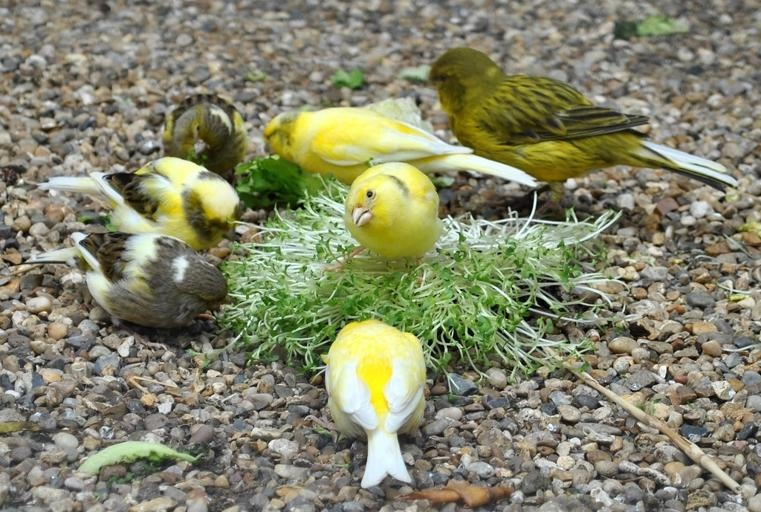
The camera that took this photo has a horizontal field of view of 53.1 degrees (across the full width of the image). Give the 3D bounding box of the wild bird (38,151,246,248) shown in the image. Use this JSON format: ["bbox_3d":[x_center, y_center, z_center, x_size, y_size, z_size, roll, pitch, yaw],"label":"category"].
[{"bbox_3d":[-1.546,-0.385,5.356,1.264,0.614,0.591,23,70,7],"label":"wild bird"}]

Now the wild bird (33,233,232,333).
[{"bbox_3d":[-1.499,0.168,4.789,1.050,0.539,0.448,20,70,-21],"label":"wild bird"}]
